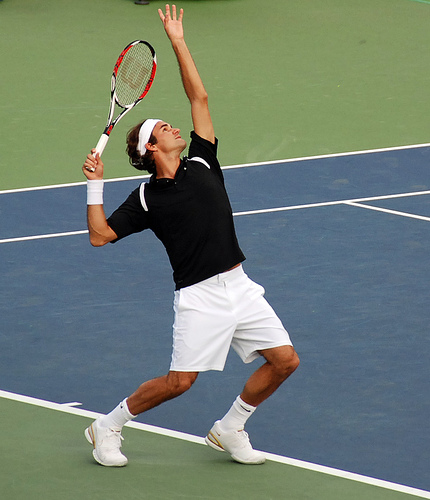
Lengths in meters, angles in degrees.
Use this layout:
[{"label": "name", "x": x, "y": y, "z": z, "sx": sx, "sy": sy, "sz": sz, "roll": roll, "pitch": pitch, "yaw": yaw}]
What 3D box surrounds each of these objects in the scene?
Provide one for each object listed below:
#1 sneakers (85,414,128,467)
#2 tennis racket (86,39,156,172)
[{"label": "sneakers", "x": -0.531, "y": 0.934, "z": 3.025, "sx": 0.118, "sy": 0.118, "sz": 0.292, "roll": 8, "pitch": 18, "yaw": -47}, {"label": "tennis racket", "x": -0.559, "y": -0.930, "z": 3.760, "sx": 0.086, "sy": 0.316, "sz": 1.071, "roll": -32, "pitch": 33, "yaw": 50}]
